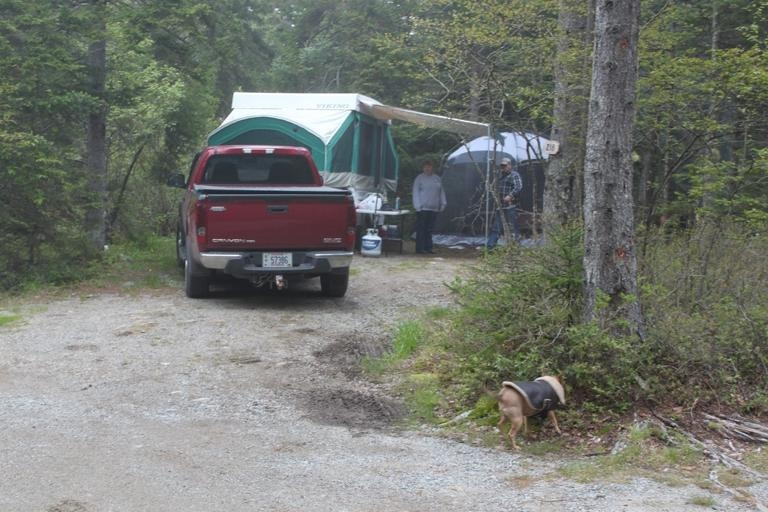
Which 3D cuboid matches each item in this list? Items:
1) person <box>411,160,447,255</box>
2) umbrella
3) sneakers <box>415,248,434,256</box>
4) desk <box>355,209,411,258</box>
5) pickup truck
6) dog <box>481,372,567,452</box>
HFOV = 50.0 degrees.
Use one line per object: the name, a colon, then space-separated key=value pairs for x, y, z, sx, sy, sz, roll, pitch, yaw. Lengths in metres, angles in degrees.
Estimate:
person: x=1.133 y=-1.131 z=19.356 sx=0.710 sy=2.133 sz=0.649 roll=2 pitch=10 yaw=4
umbrella: x=2.622 y=-2.410 z=18.503 sx=2.351 sy=0.721 sz=2.290 roll=-6 pitch=9 yaw=-39
sneakers: x=1.049 y=-0.066 z=19.419 sx=0.473 sy=0.140 sz=0.140 roll=-1 pitch=5 yaw=-8
desk: x=0.120 y=-0.560 z=19.957 sx=1.188 sy=1.343 sz=1.626 roll=3 pitch=10 yaw=9
pickup truck: x=-2.272 y=-0.899 z=14.775 sx=2.979 sy=1.913 sz=4.988 roll=-2 pitch=14 yaw=-13
dog: x=1.588 y=1.628 z=9.126 sx=1.450 sy=0.752 sz=0.441 roll=0 pitch=-3 yaw=-42
